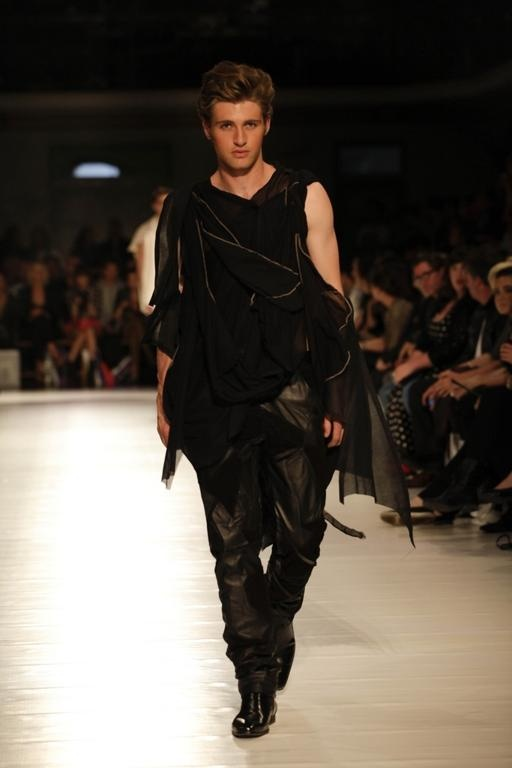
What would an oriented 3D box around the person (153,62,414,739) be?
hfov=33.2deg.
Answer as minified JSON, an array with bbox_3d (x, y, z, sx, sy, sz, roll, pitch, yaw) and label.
[{"bbox_3d":[0.041,0.000,1.795,0.471,1.311,0.343,-2,1,-34],"label":"person"}]
